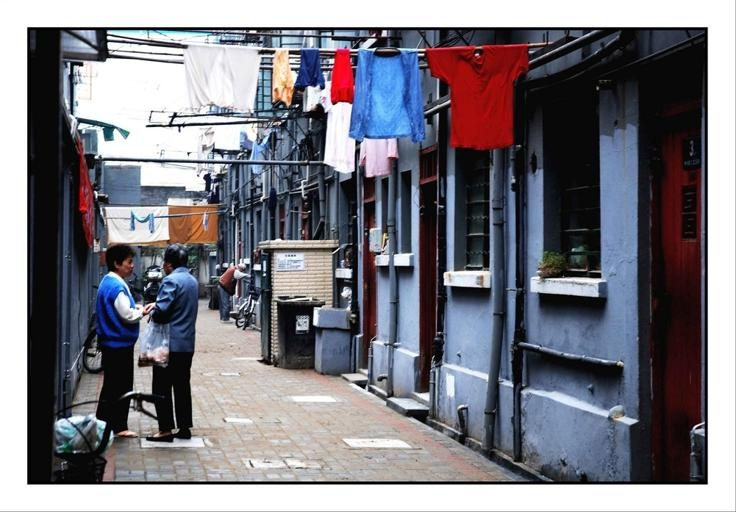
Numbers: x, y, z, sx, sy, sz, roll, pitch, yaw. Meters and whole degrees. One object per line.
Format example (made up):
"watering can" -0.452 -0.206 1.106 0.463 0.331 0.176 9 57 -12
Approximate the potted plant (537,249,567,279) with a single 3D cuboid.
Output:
"potted plant" 2.190 0.081 9.422 0.275 0.315 0.320 -2 5 -30

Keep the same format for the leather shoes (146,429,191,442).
"leather shoes" -2.651 2.400 10.410 0.535 0.195 0.221 6 -8 -19

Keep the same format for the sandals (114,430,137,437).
"sandals" -3.267 2.411 10.592 0.252 0.080 0.117 -1 1 0
